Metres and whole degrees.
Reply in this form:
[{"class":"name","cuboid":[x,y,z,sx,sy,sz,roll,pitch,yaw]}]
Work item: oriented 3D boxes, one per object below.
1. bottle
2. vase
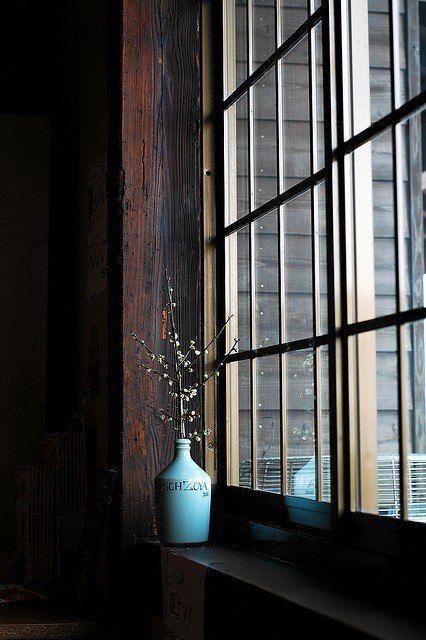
[{"class":"bottle","cuboid":[-0.069,0.384,1.468,0.127,0.355,0.145,-3,-7,34]},{"class":"vase","cuboid":[-0.072,0.414,1.506,0.097,0.257,0.113,-11,-18,30]}]
